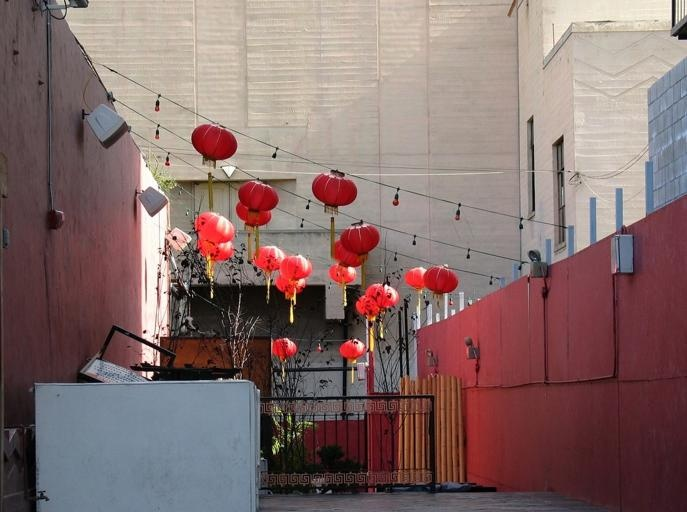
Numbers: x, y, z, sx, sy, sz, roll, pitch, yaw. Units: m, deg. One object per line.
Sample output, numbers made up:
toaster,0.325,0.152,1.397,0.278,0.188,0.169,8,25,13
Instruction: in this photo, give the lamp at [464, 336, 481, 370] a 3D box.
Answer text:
lamp,2.051,1.535,26.211,0.223,0.630,0.529,2,-11,-1

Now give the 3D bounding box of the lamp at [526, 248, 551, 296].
lamp,2.767,0.232,23.157,0.230,0.706,0.246,-1,6,24

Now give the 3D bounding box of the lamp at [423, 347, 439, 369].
lamp,1.604,1.840,29.488,0.181,0.391,0.324,-1,-4,39
